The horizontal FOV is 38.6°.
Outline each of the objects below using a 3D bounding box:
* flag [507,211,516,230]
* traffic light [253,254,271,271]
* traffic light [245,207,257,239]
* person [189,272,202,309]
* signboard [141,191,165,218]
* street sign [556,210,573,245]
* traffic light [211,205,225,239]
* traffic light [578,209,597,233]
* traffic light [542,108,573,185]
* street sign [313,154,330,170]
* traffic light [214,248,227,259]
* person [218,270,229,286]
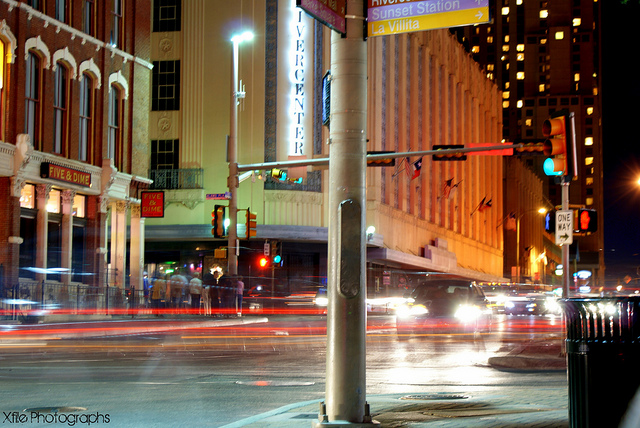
[{"bbox_3d":[22.740,0.885,108.964,1.338,2.512,2.500,1,-2,18],"label":"flag"},{"bbox_3d":[-4.088,3.355,64.380,1.240,1.137,2.274,0,-10,-4],"label":"traffic light"},{"bbox_3d":[-2.999,0.421,39.619,0.411,1.226,1.360,0,-10,-4],"label":"traffic light"},{"bbox_3d":[-6.343,3.991,46.520,0.535,1.559,0.938,1,-10,-9],"label":"person"},{"bbox_3d":[-8.746,-0.484,47.583,1.201,1.378,0.147,8,-10,-21],"label":"signboard"},{"bbox_3d":[6.326,0.355,23.633,0.418,1.003,0.733,-1,-10,0],"label":"street sign"},{"bbox_3d":[-4.225,0.315,38.060,0.498,1.325,0.911,0,-10,-7],"label":"traffic light"},{"bbox_3d":[7.266,0.211,24.915,0.561,0.772,0.411,3,-6,-20],"label":"traffic light"},{"bbox_3d":[5.997,-1.711,23.179,0.691,2.004,0.914,-3,-10,14],"label":"traffic light"},{"bbox_3d":[0.052,-1.979,35.467,0.936,0.520,0.659,-3,-2,4],"label":"street sign"},{"bbox_3d":[-4.434,1.751,40.474,0.619,0.438,0.596,3,-11,-7],"label":"traffic light"},{"bbox_3d":[-4.458,3.039,41.561,0.334,0.583,1.225,1,-10,-8],"label":"person"}]
